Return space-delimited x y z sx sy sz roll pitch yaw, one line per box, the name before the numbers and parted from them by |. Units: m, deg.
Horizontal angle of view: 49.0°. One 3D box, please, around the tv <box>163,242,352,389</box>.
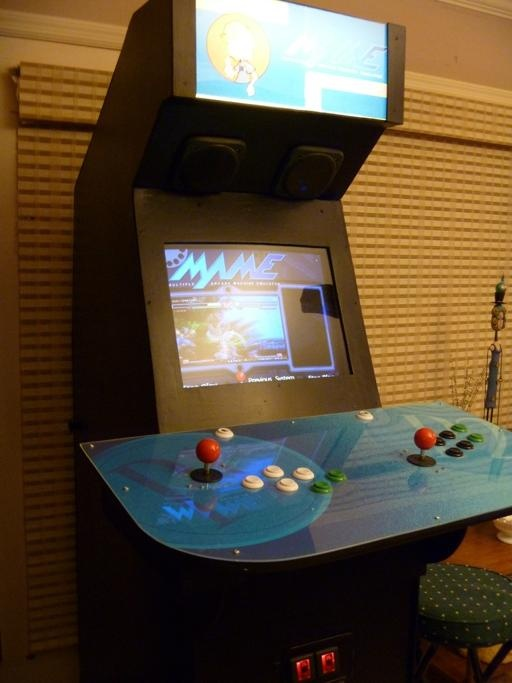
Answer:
tv | 0.015 -0.063 1.200 0.405 0.274 0.137 -3 13 -28
